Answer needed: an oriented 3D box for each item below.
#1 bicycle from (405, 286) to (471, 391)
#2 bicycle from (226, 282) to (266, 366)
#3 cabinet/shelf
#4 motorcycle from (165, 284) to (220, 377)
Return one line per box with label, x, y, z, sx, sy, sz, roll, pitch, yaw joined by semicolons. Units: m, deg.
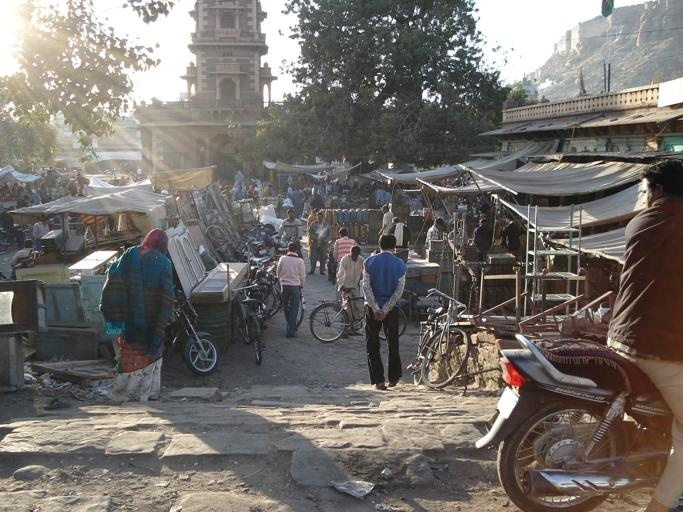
bicycle;1.366;1.233;9.908;0.787;1.139;1.862;17;-8;-10
bicycle;-1.545;1.016;11.597;0.516;0.738;1.338;-5;20;-3
cabinet/shelf;3.423;-0.180;10.959;0.598;1.557;0.679;5;2;-1
motorcycle;-2.294;1.117;10.266;0.787;1.225;1.088;-4;5;-34
